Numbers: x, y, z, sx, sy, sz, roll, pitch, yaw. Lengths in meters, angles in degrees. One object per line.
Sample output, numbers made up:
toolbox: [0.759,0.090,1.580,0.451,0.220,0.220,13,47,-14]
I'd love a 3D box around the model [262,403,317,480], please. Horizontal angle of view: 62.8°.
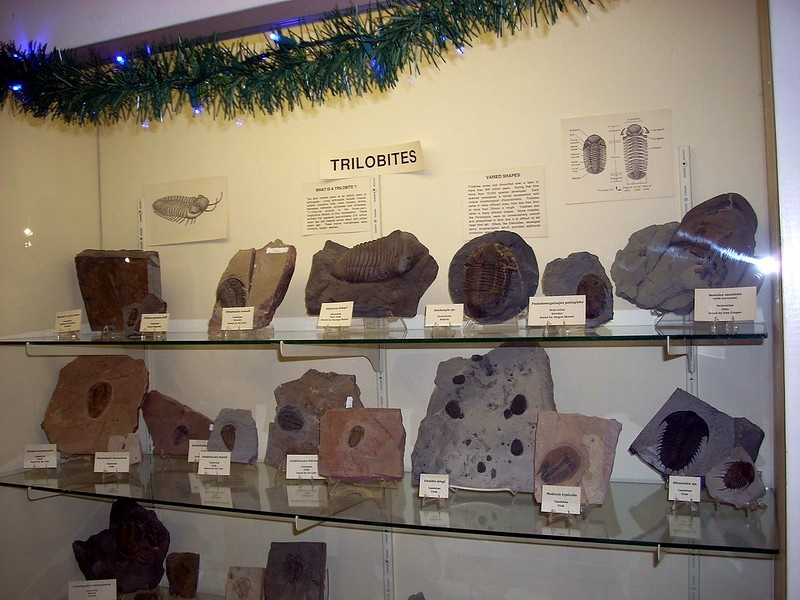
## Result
model: [-0.476,0.606,2.850,0.244,0.271,0.068,14,1,25]

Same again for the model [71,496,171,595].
model: [-1.295,1.172,3.088,0.444,0.524,0.147,-11,-3,-7]

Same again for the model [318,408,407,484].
model: [-0.155,0.597,2.676,0.258,0.273,0.101,-1,-2,11]

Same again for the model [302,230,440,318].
model: [-0.127,-0.114,2.814,0.558,0.360,0.206,2,5,25]

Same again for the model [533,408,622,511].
model: [0.674,0.611,2.501,0.319,0.337,0.141,0,5,13]

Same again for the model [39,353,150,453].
model: [-1.405,0.435,3.061,0.424,0.542,0.119,10,22,-43]

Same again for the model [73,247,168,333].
model: [-1.308,-0.072,3.173,0.410,0.450,0.270,12,25,12]

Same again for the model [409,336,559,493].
model: [0.339,0.472,2.639,0.521,0.607,0.164,-2,-13,22]

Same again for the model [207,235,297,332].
model: [-0.629,-0.040,2.943,0.302,0.463,0.115,22,-9,32]

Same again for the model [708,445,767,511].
model: [1.276,0.670,2.475,0.196,0.232,0.061,21,-20,41]

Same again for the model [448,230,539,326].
model: [0.371,-0.135,2.674,0.331,0.416,0.089,2,39,-7]

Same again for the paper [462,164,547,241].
paper: [0.469,-0.424,2.848,0.294,0.290,0.014,-2,-3,11]

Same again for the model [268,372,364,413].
model: [-0.365,0.417,3.023,0.342,0.113,0.437,11,7,27]

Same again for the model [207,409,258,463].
model: [-0.742,0.612,2.959,0.203,0.239,0.073,10,-8,6]

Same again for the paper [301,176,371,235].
paper: [-0.281,-0.439,3.043,0.235,0.198,0.005,-3,-4,17]
